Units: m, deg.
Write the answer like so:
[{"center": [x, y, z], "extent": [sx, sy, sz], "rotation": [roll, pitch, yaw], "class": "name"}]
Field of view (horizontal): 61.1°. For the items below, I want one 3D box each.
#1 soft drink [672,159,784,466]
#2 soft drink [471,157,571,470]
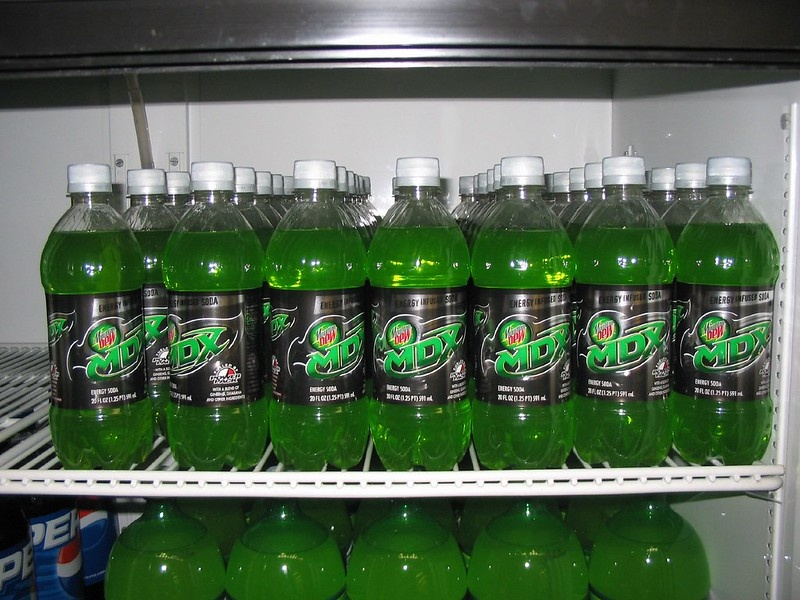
[{"center": [0.678, 0.027, 1.406], "extent": [0.196, 0.633, 0.186], "rotation": [2, 10, 28], "class": "soft drink"}, {"center": [0.258, 0.032, 1.423], "extent": [0.216, 0.651, 0.243], "rotation": [-1, 9, 14], "class": "soft drink"}]
